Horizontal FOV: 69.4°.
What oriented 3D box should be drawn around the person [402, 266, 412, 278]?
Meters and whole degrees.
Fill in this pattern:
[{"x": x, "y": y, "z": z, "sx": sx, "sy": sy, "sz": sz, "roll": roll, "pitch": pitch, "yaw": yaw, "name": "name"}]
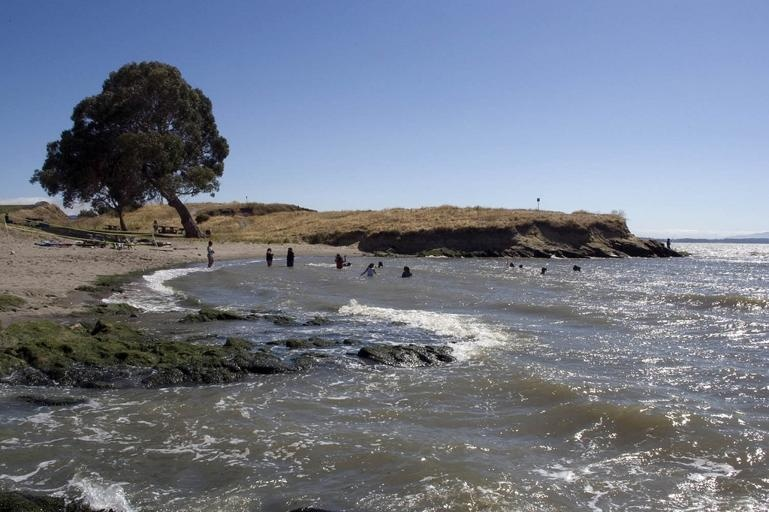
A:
[{"x": 1.382, "y": 0.947, "z": 35.413, "sx": 0.972, "sy": 0.705, "sz": 0.475, "roll": -2, "pitch": 13, "yaw": -9, "name": "person"}]
